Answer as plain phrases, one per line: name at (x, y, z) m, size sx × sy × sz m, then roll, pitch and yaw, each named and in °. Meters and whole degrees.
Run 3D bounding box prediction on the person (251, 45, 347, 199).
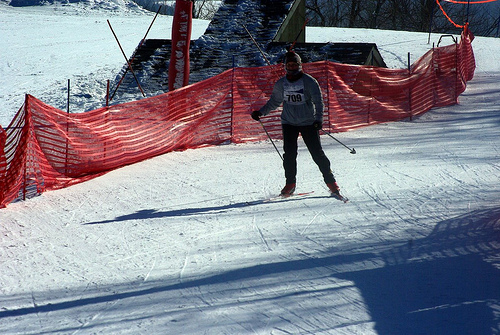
person at (0.862, -0.772, 10.291) m, size 1.744 × 2.525 × 0.840 m, roll 3°, pitch 3°, yaw 23°
